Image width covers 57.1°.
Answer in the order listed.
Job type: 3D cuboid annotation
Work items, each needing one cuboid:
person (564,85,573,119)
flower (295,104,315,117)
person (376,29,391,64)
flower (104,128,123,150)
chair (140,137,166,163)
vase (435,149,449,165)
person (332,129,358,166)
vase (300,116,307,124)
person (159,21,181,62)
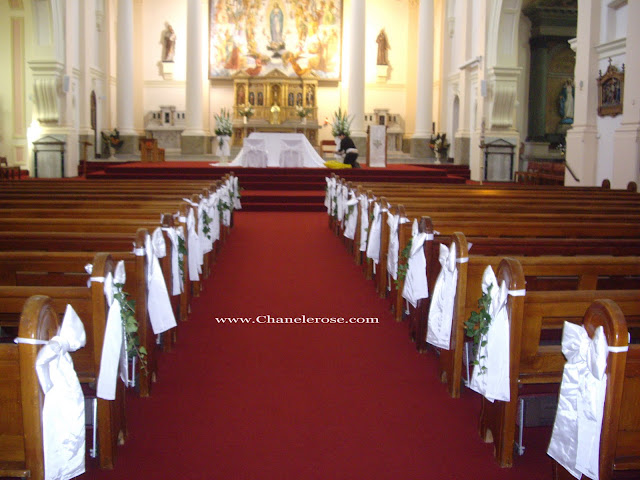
[{"bbox_3d":[7.497,-4.172,17.681,0.360,0.948,0.201,-8,14,-33],"label":"person"},{"bbox_3d":[-0.537,-4.073,18.536,0.474,0.397,0.532,-4,9,12],"label":"flower"},{"bbox_3d":[2.171,-6.690,20.450,0.402,1.199,0.617,5,13,24],"label":"person"},{"bbox_3d":[-6.399,-3.122,18.135,0.490,0.617,0.974,-7,15,-29],"label":"flower"},{"bbox_3d":[-4.600,-2.428,15.954,0.519,0.654,0.995,-8,16,-33],"label":"chair"},{"bbox_3d":[3.886,-2.650,18.774,0.405,0.613,0.457,1,3,4],"label":"vase"},{"bbox_3d":[0.653,-2.198,14.288,0.495,0.793,1.112,0,13,-2],"label":"person"},{"bbox_3d":[-0.545,-3.939,19.315,0.189,0.429,0.216,4,19,11],"label":"vase"},{"bbox_3d":[-5.174,-6.698,19.974,0.572,1.289,0.487,-3,12,-14],"label":"person"}]
